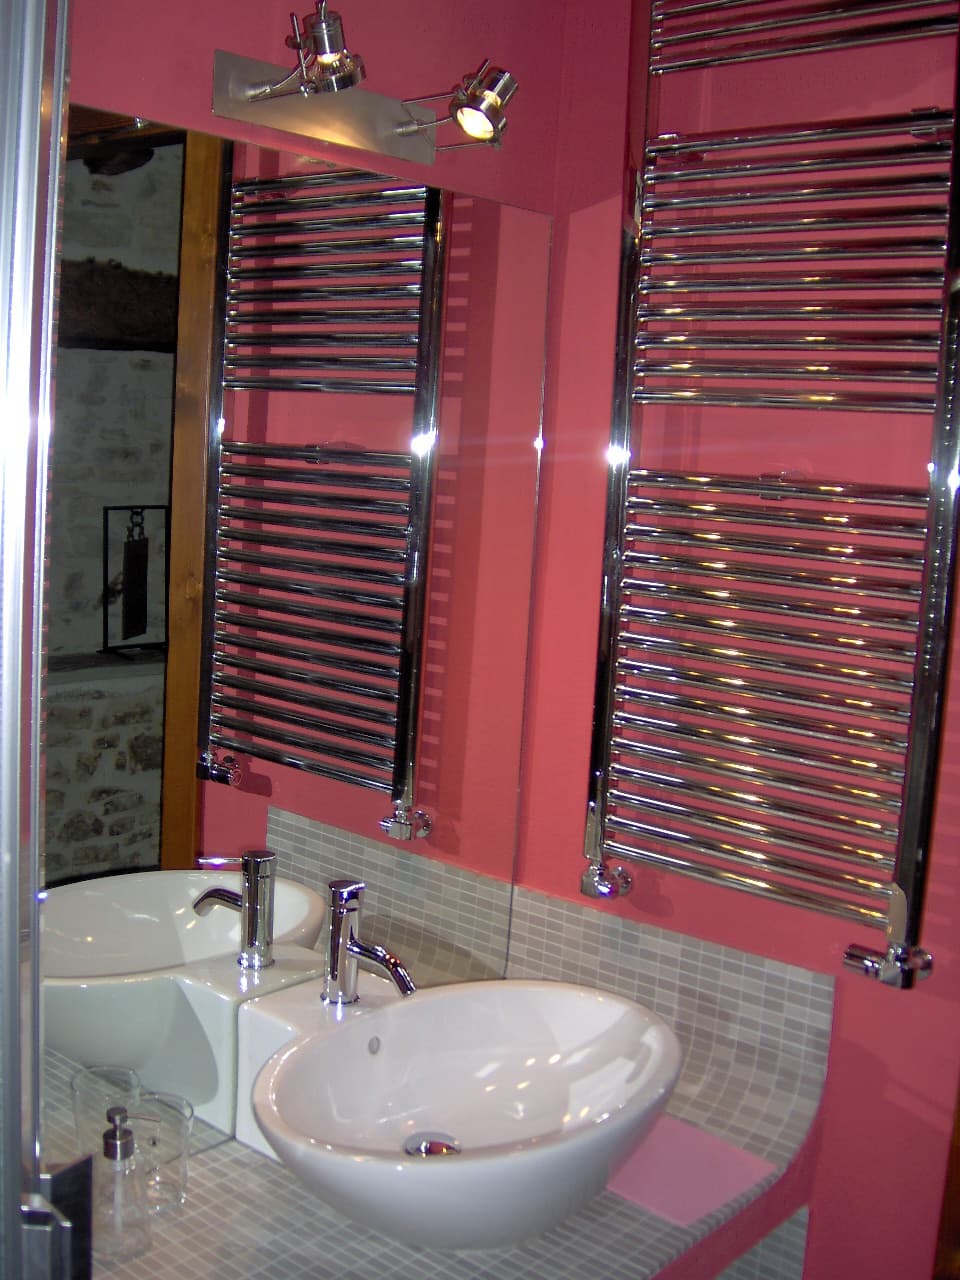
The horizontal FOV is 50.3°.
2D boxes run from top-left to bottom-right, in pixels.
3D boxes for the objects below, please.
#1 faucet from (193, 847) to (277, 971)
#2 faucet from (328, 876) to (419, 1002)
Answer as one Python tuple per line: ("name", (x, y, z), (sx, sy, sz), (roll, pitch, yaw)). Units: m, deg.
("faucet", (-0.296, 0.324, 1.228), (0.095, 0.132, 0.041), (2, 3, 0))
("faucet", (-0.133, 0.378, 1.251), (0.118, 0.143, 0.048), (4, 3, 20))
